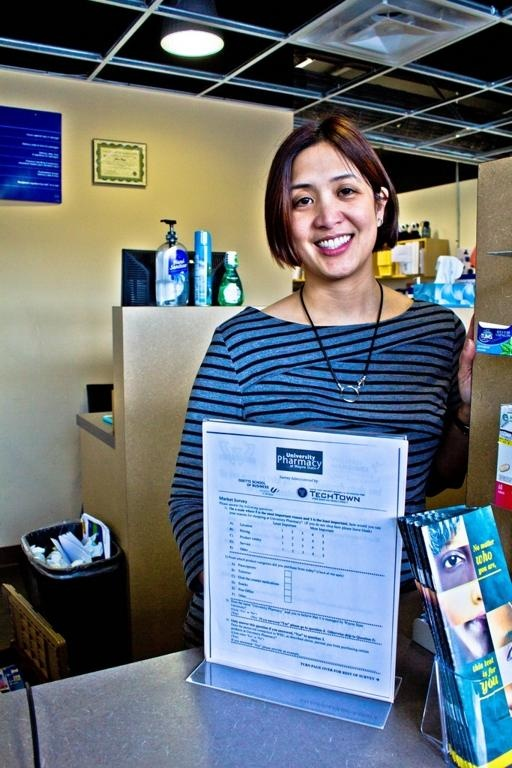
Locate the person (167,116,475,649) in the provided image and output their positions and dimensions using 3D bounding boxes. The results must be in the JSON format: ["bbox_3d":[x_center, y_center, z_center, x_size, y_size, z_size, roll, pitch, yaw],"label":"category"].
[{"bbox_3d":[0.125,-0.102,1.011,0.589,0.730,0.332,-4,2,-17],"label":"person"}]
